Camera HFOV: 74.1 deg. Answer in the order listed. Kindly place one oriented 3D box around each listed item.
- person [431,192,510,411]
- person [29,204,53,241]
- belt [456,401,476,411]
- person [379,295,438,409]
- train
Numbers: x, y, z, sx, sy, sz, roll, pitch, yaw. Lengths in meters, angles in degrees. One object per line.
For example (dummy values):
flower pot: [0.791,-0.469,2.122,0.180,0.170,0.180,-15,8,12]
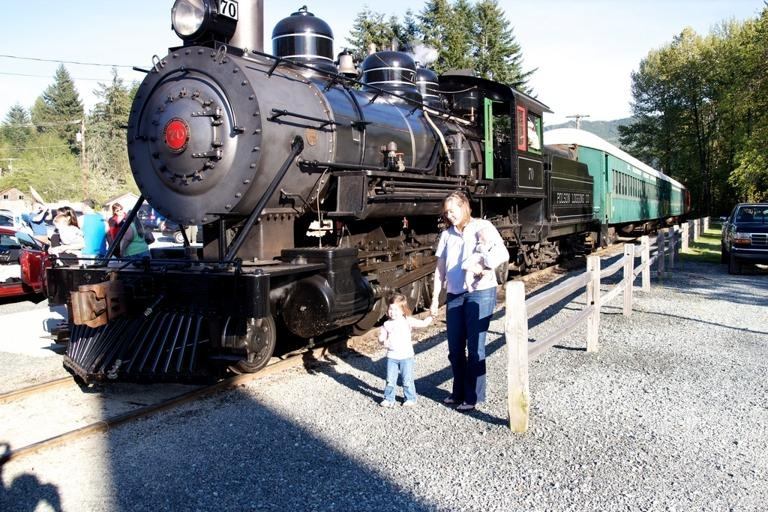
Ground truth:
person: [0.928,0.496,5.617,0.819,2.395,0.534,4,11,21]
person: [-9.417,-0.907,14.170,0.564,0.501,1.617,-4,-32,-26]
belt: [0.902,1.649,5.617,0.168,0.069,0.099,5,-4,-2]
person: [0.207,1.083,5.767,0.485,1.276,0.330,-1,11,-1]
train: [0.457,-1.079,12.253,3.579,6.212,14.875,0,1,34]
